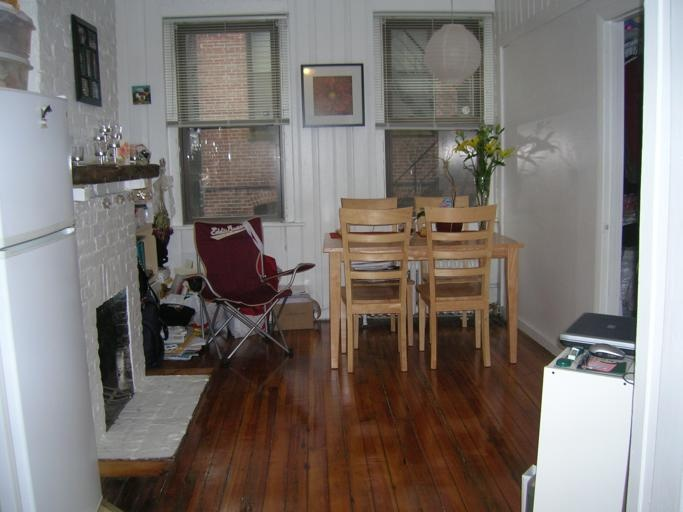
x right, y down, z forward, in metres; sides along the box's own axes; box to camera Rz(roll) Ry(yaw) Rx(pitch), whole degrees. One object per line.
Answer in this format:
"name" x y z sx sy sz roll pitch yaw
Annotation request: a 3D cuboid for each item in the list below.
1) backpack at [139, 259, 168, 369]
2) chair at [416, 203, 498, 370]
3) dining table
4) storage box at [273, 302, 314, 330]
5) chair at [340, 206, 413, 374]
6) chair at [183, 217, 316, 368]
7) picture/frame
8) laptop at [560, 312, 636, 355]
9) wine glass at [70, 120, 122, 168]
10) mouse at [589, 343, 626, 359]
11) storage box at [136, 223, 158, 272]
"backpack" -1.425 0.471 4.107 0.183 0.622 0.415 -4 1 -4
"chair" 0.894 0.164 4.302 0.597 1.191 1.029 0 10 15
"dining table" 0.706 0.174 4.440 1.314 1.067 1.056 -2 4 -10
"storage box" -0.400 0.554 4.917 0.240 0.169 0.258 -1 5 -7
"chair" 0.268 0.174 4.321 0.555 1.192 1.053 -2 10 1
"chair" -0.773 0.262 4.299 0.889 1.051 0.699 -7 7 -27
"picture/frame" -0.094 -1.501 4.989 0.501 0.499 0.038 -1 6 -1
"laptop" 1.086 0.317 2.188 0.343 0.061 0.353 -8 8 38
"wine glass" -1.394 -0.621 3.025 0.155 0.219 0.560 2 7 7
"mouse" 0.990 0.346 2.023 0.086 0.032 0.059 1 7 38
"storage box" -1.566 -0.062 4.350 0.160 0.314 0.317 -2 14 -5
